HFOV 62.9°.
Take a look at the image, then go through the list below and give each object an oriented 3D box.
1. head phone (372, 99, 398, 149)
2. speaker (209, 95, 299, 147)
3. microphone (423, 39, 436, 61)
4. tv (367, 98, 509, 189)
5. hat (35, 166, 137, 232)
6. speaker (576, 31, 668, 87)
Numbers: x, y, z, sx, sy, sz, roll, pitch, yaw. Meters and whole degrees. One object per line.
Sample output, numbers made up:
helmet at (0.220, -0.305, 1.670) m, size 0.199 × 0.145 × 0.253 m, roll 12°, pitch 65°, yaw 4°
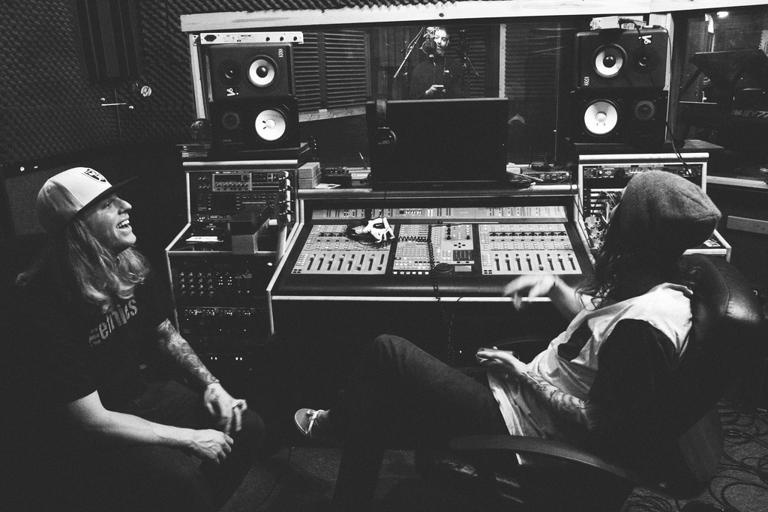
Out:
head phone at (0.004, -0.775, 3.671) m, size 0.105 × 0.227 × 0.211 m, roll -2°, pitch 18°, yaw 8°
speaker at (-0.794, -0.816, 3.859) m, size 0.516 × 0.317 × 0.292 m, roll 0°, pitch 14°, yaw -1°
microphone at (0.358, -1.598, 4.905) m, size 0.113 × 0.054 × 0.150 m, roll 13°, pitch -28°, yaw 15°
tv at (0.353, -0.673, 3.696) m, size 0.794 × 0.509 × 0.531 m, roll 0°, pitch 21°, yaw 5°
hat at (-1.235, -0.234, 2.557) m, size 0.273 × 0.131 × 0.200 m, roll -39°, pitch 17°, yaw -9°
speaker at (1.368, -1.143, 3.649) m, size 0.566 × 0.402 × 0.323 m, roll 1°, pitch 15°, yaw 9°
